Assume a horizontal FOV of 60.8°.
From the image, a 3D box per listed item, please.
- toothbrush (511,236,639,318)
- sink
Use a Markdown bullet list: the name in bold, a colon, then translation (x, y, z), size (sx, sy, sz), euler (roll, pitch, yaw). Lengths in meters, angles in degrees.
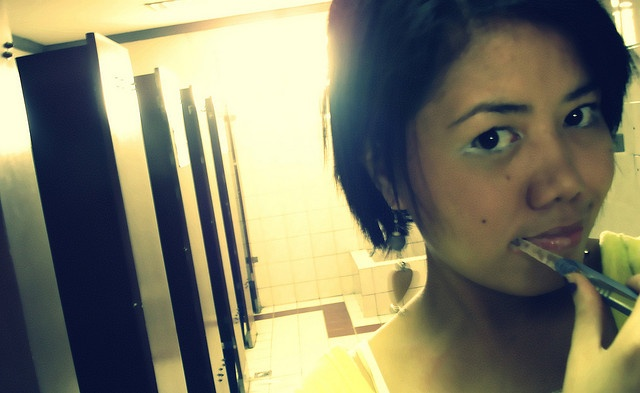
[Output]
- **toothbrush**: translation (0.609, 0.182, 1.284), size (0.393, 0.068, 0.055), euler (24, 17, 22)
- **sink**: translation (0.374, 0.506, 3.857), size (0.687, 0.408, 0.690), euler (-3, 12, 1)
